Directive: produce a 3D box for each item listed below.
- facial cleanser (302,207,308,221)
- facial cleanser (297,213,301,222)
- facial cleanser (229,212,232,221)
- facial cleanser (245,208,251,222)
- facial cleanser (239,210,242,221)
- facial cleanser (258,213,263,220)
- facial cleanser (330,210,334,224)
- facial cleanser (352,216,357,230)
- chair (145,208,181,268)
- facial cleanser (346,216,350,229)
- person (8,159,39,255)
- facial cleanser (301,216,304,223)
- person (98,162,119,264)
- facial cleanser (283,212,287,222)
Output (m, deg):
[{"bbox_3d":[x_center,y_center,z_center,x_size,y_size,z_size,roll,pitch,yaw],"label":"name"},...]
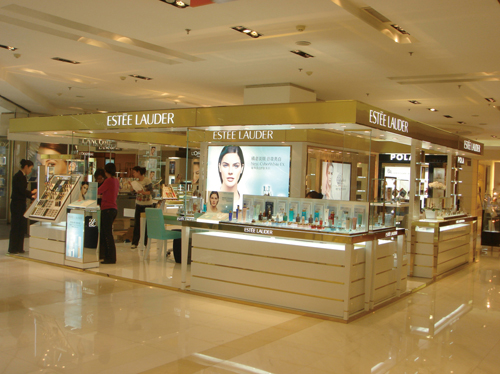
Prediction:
[{"bbox_3d":[0.821,0.413,5.666,0.098,0.178,0.029,4,1,43],"label":"facial cleanser"},{"bbox_3d":[0.730,0.474,5.703,0.066,0.111,0.037,4,0,16],"label":"facial cleanser"},{"bbox_3d":[-0.327,0.484,6.177,0.049,0.128,0.079,3,1,-8],"label":"facial cleanser"},{"bbox_3d":[-0.039,0.451,6.027,0.091,0.212,0.041,4,0,2],"label":"facial cleanser"},{"bbox_3d":[-0.154,0.464,6.075,0.043,0.168,0.081,3,1,-22],"label":"facial cleanser"},{"bbox_3d":[0.163,0.472,5.962,0.086,0.115,0.030,4,1,40],"label":"facial cleanser"},{"bbox_3d":[1.196,0.444,5.508,0.064,0.185,0.022,4,0,14],"label":"facial cleanser"},{"bbox_3d":[1.499,0.523,5.466,0.103,0.180,0.038,3,1,-30],"label":"facial cleanser"},{"bbox_3d":[-1.978,0.997,8.297,0.755,0.957,0.961,3,1,-33],"label":"chair"},{"bbox_3d":[1.403,0.515,5.448,0.066,0.160,0.039,4,0,11],"label":"facial cleanser"},{"bbox_3d":[-5.215,0.441,8.696,0.483,1.815,0.639,3,1,-31],"label":"person"},{"bbox_3d":[0.796,0.489,5.664,0.065,0.079,0.030,3,0,18],"label":"facial cleanser"},{"bbox_3d":[-3.066,0.561,8.164,0.432,1.907,0.563,3,1,-20],"label":"person"},{"bbox_3d":[0.532,0.463,5.792,0.080,0.138,0.033,4,1,38],"label":"facial cleanser"}]
